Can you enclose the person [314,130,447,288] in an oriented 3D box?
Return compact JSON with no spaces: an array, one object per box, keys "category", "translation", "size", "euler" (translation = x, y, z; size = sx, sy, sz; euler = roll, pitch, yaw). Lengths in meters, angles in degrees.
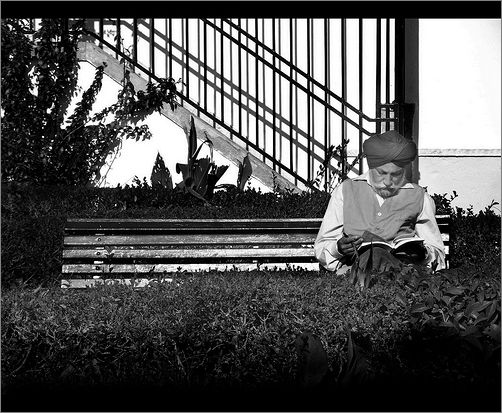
[{"category":"person","translation":[0.900,0.202,5.223],"size":[0.902,1.397,0.685],"euler":[3,3,3]}]
